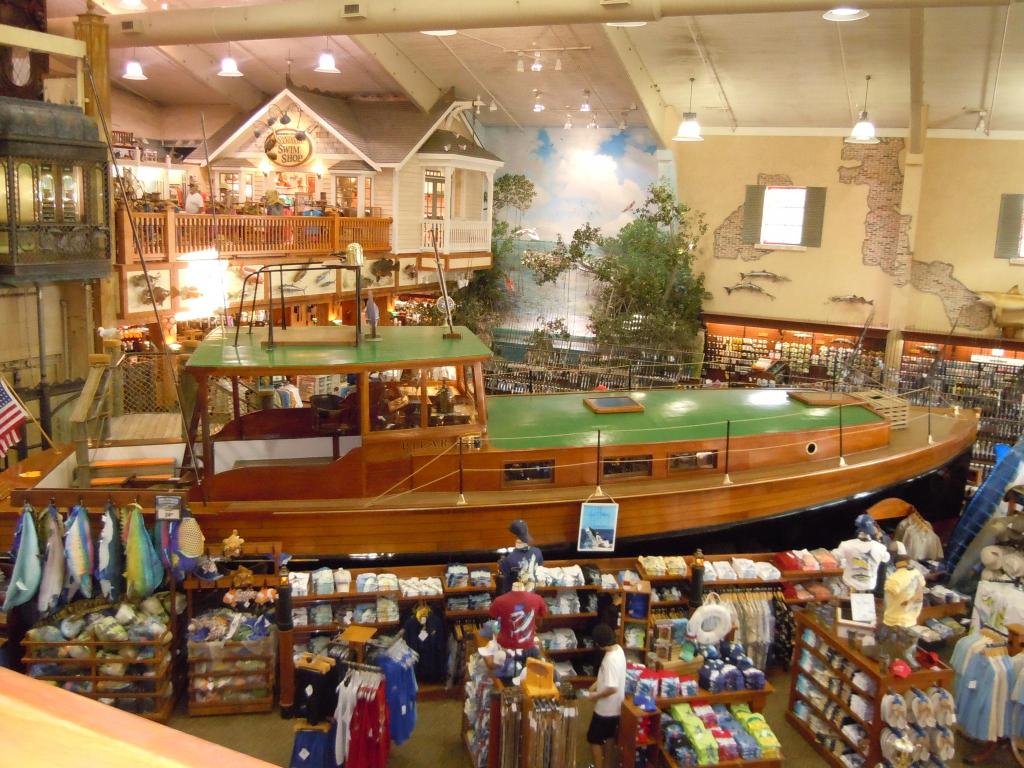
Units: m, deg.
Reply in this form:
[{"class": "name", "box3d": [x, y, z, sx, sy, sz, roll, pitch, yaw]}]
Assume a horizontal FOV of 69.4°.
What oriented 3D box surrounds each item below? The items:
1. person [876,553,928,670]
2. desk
[{"class": "person", "box3d": [3.421, 1.925, 6.526, 0.312, 0.669, 1.175, 4, 7, 28]}, {"class": "desk", "box3d": [-1.998, 0.195, 8.290, 3.418, 1.283, 2.361, -3, 13, -10]}]
